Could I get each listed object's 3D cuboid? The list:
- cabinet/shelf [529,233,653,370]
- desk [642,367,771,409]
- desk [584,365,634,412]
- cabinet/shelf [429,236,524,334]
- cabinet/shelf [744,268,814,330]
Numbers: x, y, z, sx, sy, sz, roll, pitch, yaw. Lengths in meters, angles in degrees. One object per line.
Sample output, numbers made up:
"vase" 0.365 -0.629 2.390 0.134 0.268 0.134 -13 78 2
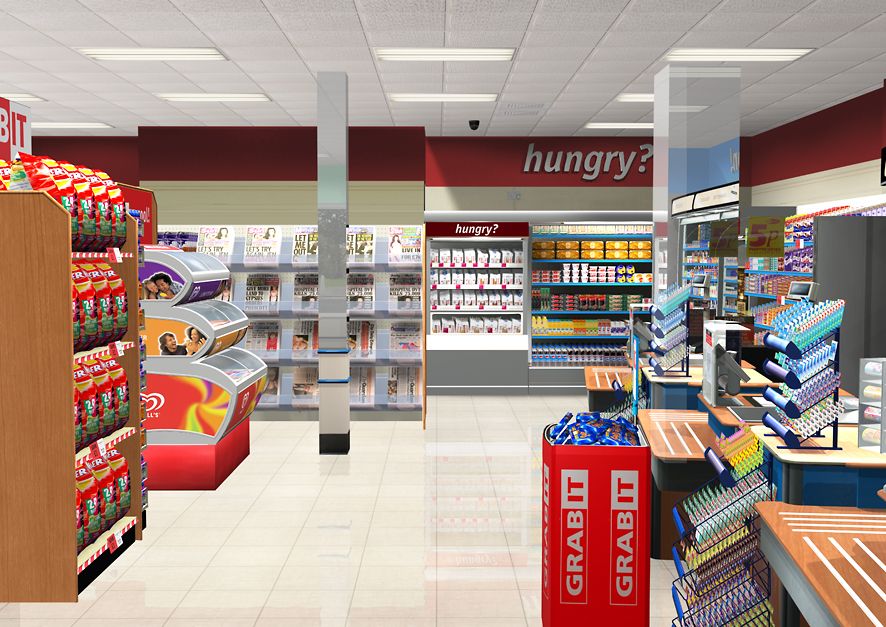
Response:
"cabinet/shelf" 2.411 -0.286 9.881 1.929 2.288 0.875 0 7 7
"desk" 2.092 0.638 4.922 0.614 0.215 0.538 0 4 -3
"desk" 1.837 0.781 6.743 0.465 0.167 0.831 -3 12 14
"cabinet/shelf" 0.557 -0.405 9.817 2.008 1.475 0.659 0 -2 -2
"cabinet/shelf" 4.544 -0.095 8.485 1.038 0.764 0.296 5 -11 -10
